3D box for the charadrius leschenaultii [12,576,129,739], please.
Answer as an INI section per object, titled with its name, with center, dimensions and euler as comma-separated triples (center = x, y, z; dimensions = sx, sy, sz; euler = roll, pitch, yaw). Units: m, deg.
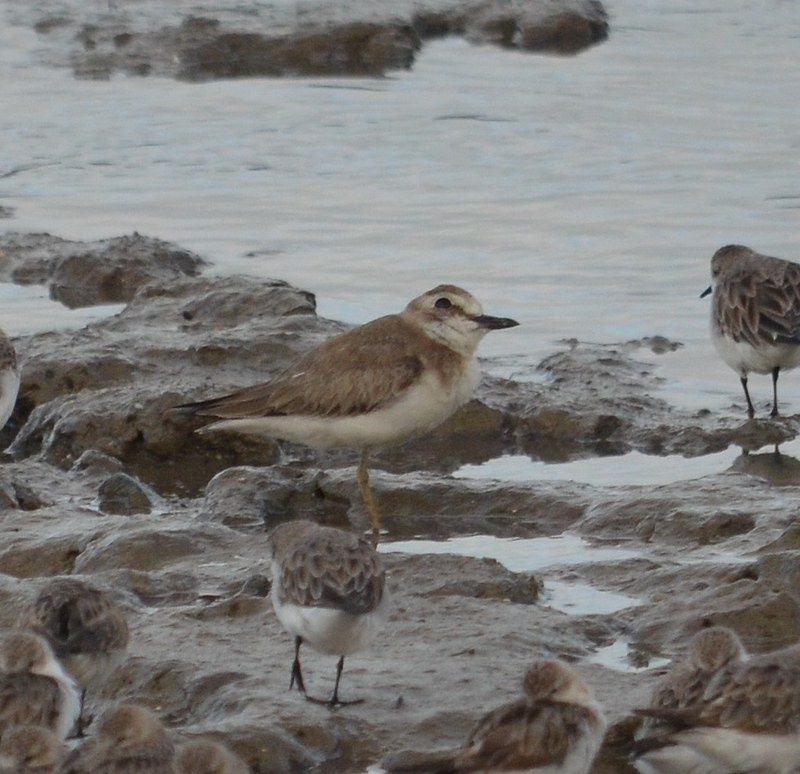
[charadrius leschenaultii]
center = -1.883, 1.512, 8.318
dimensions = 0.716, 0.808, 0.505
euler = 23, -7, -5
